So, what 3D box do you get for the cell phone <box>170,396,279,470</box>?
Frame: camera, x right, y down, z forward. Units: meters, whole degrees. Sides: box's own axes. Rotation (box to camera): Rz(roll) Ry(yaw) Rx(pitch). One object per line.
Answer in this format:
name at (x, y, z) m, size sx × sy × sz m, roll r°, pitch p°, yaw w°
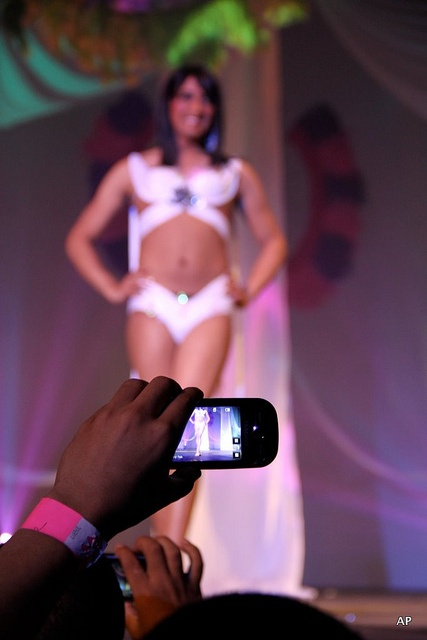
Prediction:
cell phone at (-0.006, 0.147, 0.798) m, size 0.188 × 0.025 × 0.091 m, roll 7°, pitch 78°, yaw -31°
